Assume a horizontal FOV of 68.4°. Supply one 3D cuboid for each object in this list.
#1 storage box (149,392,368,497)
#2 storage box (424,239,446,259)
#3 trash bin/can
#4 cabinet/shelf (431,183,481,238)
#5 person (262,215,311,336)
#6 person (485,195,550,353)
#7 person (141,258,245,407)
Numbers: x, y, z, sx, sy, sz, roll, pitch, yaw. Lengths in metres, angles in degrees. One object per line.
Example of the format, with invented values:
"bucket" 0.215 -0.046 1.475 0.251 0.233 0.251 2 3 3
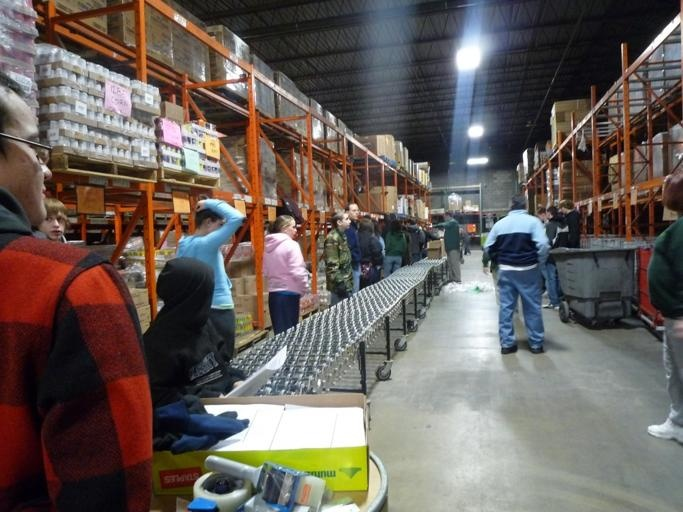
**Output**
"storage box" -0.220 0.700 1.910 0.432 0.126 0.500 0 2 4
"storage box" 3.135 -0.209 16.685 0.499 0.710 0.956 -2 1 19
"trash bin/can" 3.746 0.405 7.568 0.973 1.345 1.613 -1 1 6
"cabinet/shelf" 6.502 -2.511 28.343 3.768 3.973 1.365 -3 8 -18
"person" -0.607 0.213 5.469 0.443 1.295 0.574 -4 4 -14
"person" 2.212 0.234 6.414 0.767 1.982 0.620 -1 -3 30
"person" -0.791 0.414 2.636 0.390 0.773 0.761 0 2 2
